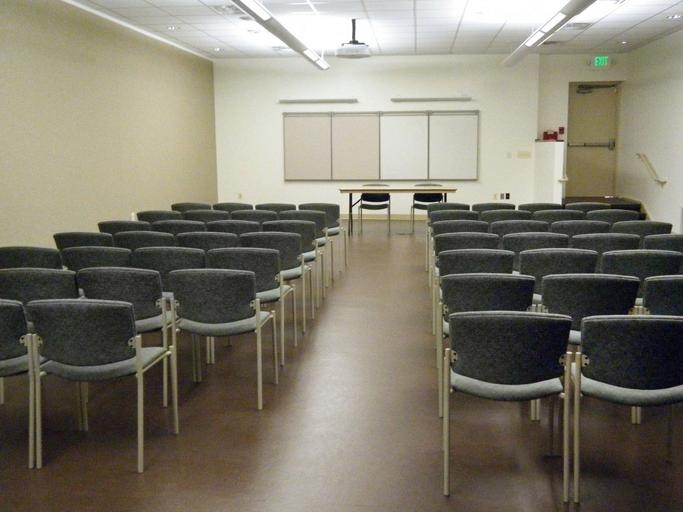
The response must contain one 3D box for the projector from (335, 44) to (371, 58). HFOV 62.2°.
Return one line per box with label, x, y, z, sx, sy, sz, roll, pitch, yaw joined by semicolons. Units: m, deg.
projector;0.192;-3.669;10.015;0.562;0.240;0.384;1;9;0
